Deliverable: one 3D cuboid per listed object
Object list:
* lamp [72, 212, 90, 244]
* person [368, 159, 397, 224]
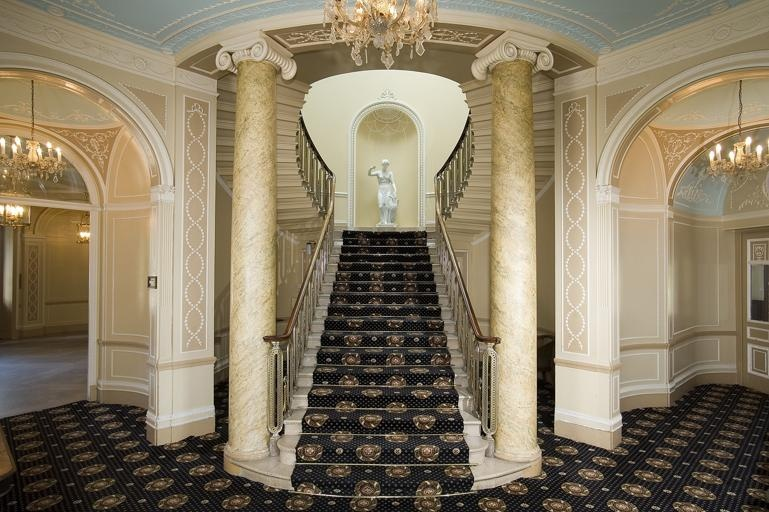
[{"bbox_3d":[-8.980,-0.766,14.986,0.377,0.920,0.928,-8,15,-30],"label":"lamp"},{"bbox_3d":[-0.041,-1.608,12.769,0.616,1.598,0.788,0,13,-2],"label":"person"}]
